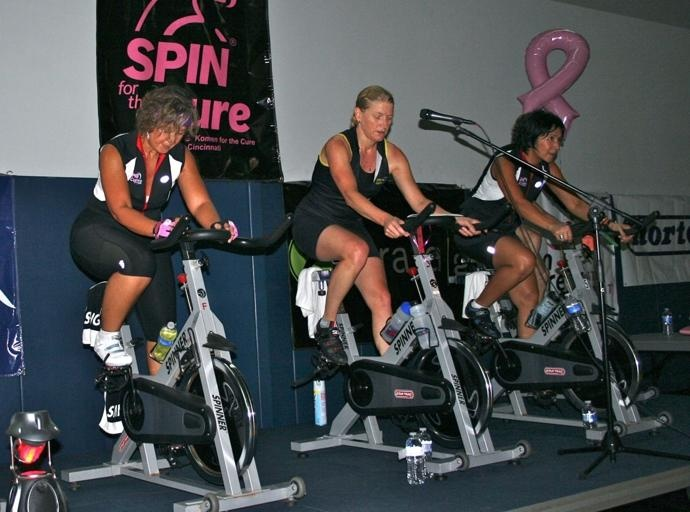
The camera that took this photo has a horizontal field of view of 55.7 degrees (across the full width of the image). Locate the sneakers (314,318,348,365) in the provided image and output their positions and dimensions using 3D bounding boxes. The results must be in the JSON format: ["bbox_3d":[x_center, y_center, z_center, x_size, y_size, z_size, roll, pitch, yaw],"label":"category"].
[{"bbox_3d":[-0.097,0.504,3.896,0.119,0.327,0.155,-15,-21,-35],"label":"sneakers"}]

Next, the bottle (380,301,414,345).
[{"bbox_3d":[0.290,0.396,3.921,0.102,0.247,0.103,23,5,-2],"label":"bottle"}]

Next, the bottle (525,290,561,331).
[{"bbox_3d":[1.375,0.328,4.569,0.254,0.089,0.164,-31,-6,-10],"label":"bottle"}]

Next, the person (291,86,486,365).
[{"bbox_3d":[0.135,-0.182,3.941,0.528,1.622,0.955,1,-3,-43],"label":"person"}]

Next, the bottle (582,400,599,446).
[{"bbox_3d":[1.570,1.041,4.224,0.071,0.215,0.074,-8,9,1],"label":"bottle"}]

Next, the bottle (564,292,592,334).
[{"bbox_3d":[1.509,0.381,4.276,0.137,0.251,0.061,-28,6,21],"label":"bottle"}]

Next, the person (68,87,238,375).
[{"bbox_3d":[-1.012,-0.116,3.457,0.823,1.499,0.518,-3,-3,31],"label":"person"}]

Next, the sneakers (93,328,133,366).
[{"bbox_3d":[-1.182,0.466,3.321,0.236,0.148,0.142,24,10,31],"label":"sneakers"}]

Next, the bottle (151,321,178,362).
[{"bbox_3d":[-0.976,0.461,3.502,0.101,0.195,0.107,18,3,-1],"label":"bottle"}]

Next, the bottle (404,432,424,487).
[{"bbox_3d":[0.384,1.104,3.614,0.109,0.251,0.228,-2,-2,4],"label":"bottle"}]

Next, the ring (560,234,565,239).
[{"bbox_3d":[1.335,-0.122,4.049,0.024,0.027,0.047,4,8,12],"label":"ring"}]

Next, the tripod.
[{"bbox_3d":[1.421,0.162,4.071,0.957,2.070,1.314,-2,-2,2],"label":"tripod"}]
